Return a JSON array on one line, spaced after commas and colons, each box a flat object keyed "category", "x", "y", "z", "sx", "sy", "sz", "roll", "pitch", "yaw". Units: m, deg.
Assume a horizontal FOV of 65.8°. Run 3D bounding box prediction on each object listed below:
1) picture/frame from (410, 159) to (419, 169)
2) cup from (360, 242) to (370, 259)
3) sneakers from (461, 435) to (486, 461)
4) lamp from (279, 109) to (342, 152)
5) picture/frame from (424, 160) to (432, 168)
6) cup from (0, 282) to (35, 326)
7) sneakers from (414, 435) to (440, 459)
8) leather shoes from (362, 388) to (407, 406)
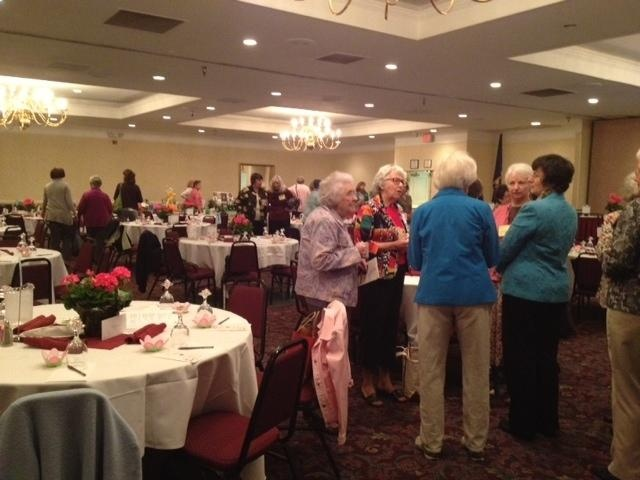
[{"category": "picture/frame", "x": 2.873, "y": -2.336, "z": 15.184, "sx": 0.158, "sy": 0.327, "sz": 0.312, "roll": 1, "pitch": 0, "yaw": -34}, {"category": "cup", "x": 0.331, "y": 0.084, "z": 3.743, "sx": 0.073, "sy": 0.096, "sz": 0.100, "roll": 4, "pitch": 13, "yaw": 15}, {"category": "sneakers", "x": 1.065, "y": 1.456, "z": 3.465, "sx": 0.076, "sy": 0.100, "sz": 0.223, "roll": -1, "pitch": 7, "yaw": -2}, {"category": "lamp", "x": -0.293, "y": -2.647, "z": 13.050, "sx": 1.267, "sy": 0.738, "sz": 1.551, "roll": -3, "pitch": 5, "yaw": -5}, {"category": "picture/frame", "x": 3.205, "y": -2.270, "z": 14.825, "sx": 0.209, "sy": 0.346, "sz": 0.212, "roll": 0, "pitch": -3, "yaw": 14}, {"category": "cup", "x": -1.877, "y": 0.394, "z": 3.086, "sx": 0.191, "sy": 0.300, "sz": 0.200, "roll": -2, "pitch": 1, "yaw": 0}, {"category": "sneakers", "x": 0.739, "y": 1.460, "z": 3.520, "sx": 0.078, "sy": 0.153, "sz": 0.214, "roll": -3, "pitch": 19, "yaw": -12}, {"category": "leather shoes", "x": 0.543, "y": 1.343, "z": 4.225, "sx": 0.300, "sy": 0.092, "sz": 0.145, "roll": -5, "pitch": 1, "yaw": -19}]
